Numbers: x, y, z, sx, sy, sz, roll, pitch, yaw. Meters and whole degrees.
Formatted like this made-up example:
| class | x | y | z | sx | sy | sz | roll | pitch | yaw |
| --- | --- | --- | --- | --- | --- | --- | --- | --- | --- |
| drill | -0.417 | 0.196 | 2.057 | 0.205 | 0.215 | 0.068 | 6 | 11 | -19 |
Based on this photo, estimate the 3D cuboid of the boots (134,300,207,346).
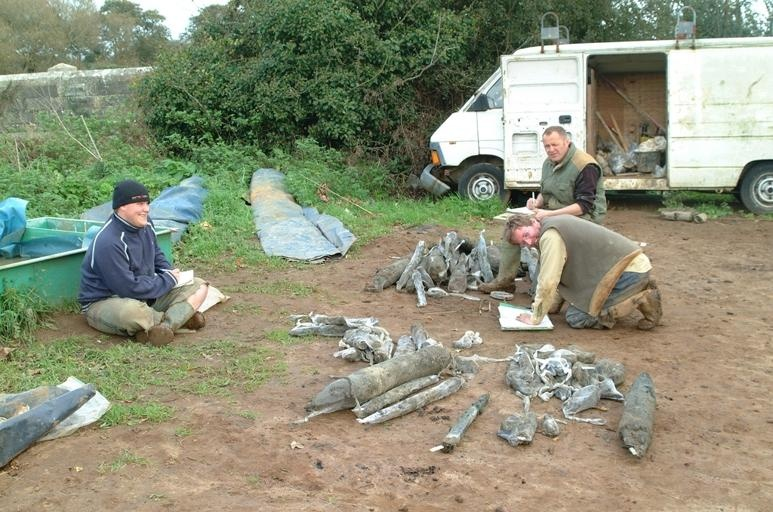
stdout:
| class | x | y | z | sx | sy | sz | roll | pitch | yaw |
| --- | --- | --- | --- | --- | --- | --- | --- | --- | --- |
| boots | -2.538 | 0.788 | 8.774 | 0.437 | 0.287 | 0.701 | -6 | 7 | 22 |

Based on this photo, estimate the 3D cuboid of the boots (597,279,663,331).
| class | x | y | z | sx | sy | sz | roll | pitch | yaw |
| --- | --- | --- | --- | --- | --- | --- | --- | --- | --- |
| boots | 2.994 | 0.637 | 9.025 | 0.776 | 0.355 | 0.536 | -19 | 33 | 16 |

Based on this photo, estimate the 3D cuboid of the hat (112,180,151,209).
| class | x | y | z | sx | sy | sz | roll | pitch | yaw |
| --- | --- | --- | --- | --- | --- | --- | --- | --- | --- |
| hat | -2.965 | -0.735 | 8.652 | 0.404 | 0.286 | 0.371 | -2 | 9 | -2 |
